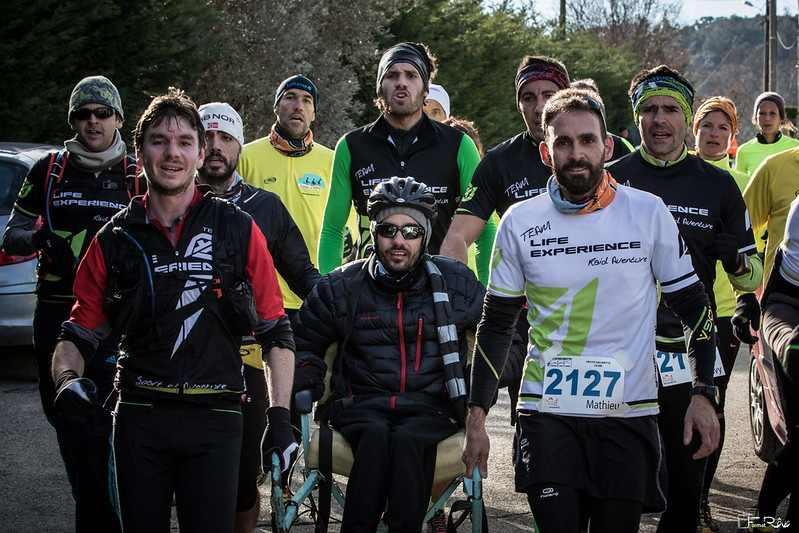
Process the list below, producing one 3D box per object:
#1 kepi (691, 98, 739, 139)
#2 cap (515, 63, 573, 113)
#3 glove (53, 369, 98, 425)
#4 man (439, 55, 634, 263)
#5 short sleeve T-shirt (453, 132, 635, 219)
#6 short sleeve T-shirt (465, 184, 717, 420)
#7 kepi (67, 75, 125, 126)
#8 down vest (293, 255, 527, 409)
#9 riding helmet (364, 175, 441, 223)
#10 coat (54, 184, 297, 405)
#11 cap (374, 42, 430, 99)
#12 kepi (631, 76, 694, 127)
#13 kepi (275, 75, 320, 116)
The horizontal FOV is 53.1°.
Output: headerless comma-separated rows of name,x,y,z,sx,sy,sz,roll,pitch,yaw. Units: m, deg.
kepi,3.388,-1.628,8.518,0.351,0.505,0.463,3,35,11
cap,1.186,-1.541,6.601,0.421,0.234,0.520,14,-9,24
glove,-1.768,0.714,4.531,0.350,0.208,0.417,2,-4,-22
man,1.122,-0.802,6.441,1.854,1.717,0.946,-10,10,-1
short sleeve T-shirt,0.995,-0.612,5.537,0.690,0.376,0.184,-24,5,-6
short sleeve T-shirt,1.209,0.236,4.791,1.442,1.411,0.533,-1,-11,11
kepi,-2.329,-1.311,6.215,0.386,0.318,0.349,4,-9,-42
down vest,0.006,0.536,5.835,1.841,1.187,0.981,-1,15,-1
riding helmet,-0.012,-0.515,5.918,0.500,0.292,0.712,4,-7,-11
coat,-1.338,0.190,4.828,1.416,1.301,0.511,0,0,-12
cap,0.011,-1.702,6.788,0.341,0.452,0.490,-1,-11,15
kepi,2.008,-1.267,5.986,0.463,0.258,0.423,21,2,36
kepi,-1.032,-1.770,8.117,0.429,0.380,0.431,5,3,-18
